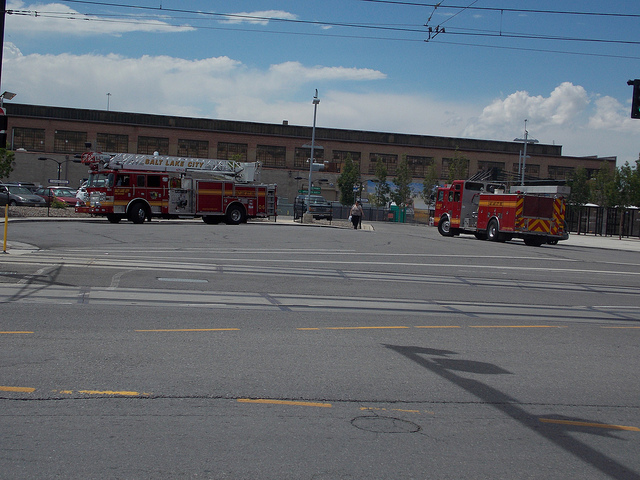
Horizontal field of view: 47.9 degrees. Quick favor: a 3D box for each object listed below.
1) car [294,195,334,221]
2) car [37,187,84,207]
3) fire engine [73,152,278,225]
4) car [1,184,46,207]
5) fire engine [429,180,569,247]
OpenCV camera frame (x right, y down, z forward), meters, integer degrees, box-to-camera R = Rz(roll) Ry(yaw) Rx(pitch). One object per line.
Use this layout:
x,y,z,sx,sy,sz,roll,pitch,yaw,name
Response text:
-0.633,-2.516,54.854,1.596,1.446,3.235,0,1,-23,car
-16.046,-2.609,44.525,1.538,0.997,3.020,-5,9,-43,car
-7.164,-2.490,37.483,9.758,3.481,3.242,0,2,-27,fire engine
-17.828,-2.627,43.248,2.251,1.194,4.325,0,6,-26,car
8.946,-1.411,36.772,3.406,2.979,8.124,6,1,-19,fire engine
